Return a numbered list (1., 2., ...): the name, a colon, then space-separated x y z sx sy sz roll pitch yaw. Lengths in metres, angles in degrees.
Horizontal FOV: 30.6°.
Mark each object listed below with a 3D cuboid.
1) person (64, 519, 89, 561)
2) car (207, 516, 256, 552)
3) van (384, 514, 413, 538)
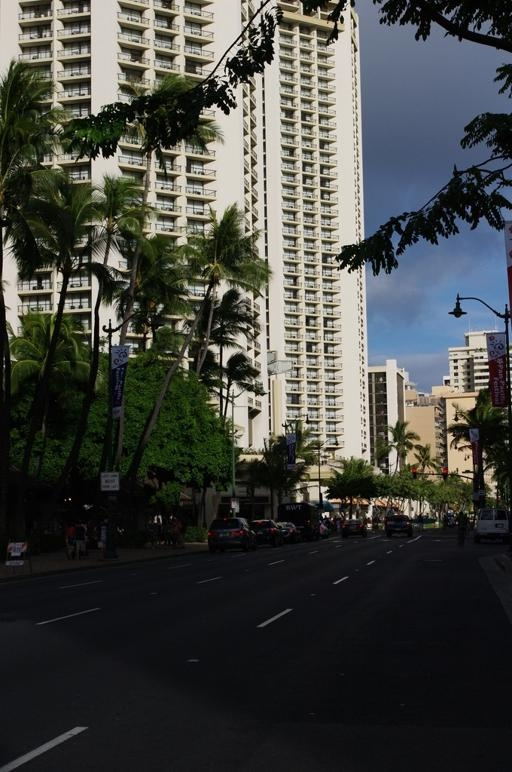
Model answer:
1. person: -6.959 5.987 36.148 0.740 1.262 2.206 4 -6 -13
2. car: -1.177 6.637 41.826 1.818 1.557 2.274 3 -6 0
3. van: 9.813 9.711 64.313 1.186 1.337 2.982 0 -2 11
